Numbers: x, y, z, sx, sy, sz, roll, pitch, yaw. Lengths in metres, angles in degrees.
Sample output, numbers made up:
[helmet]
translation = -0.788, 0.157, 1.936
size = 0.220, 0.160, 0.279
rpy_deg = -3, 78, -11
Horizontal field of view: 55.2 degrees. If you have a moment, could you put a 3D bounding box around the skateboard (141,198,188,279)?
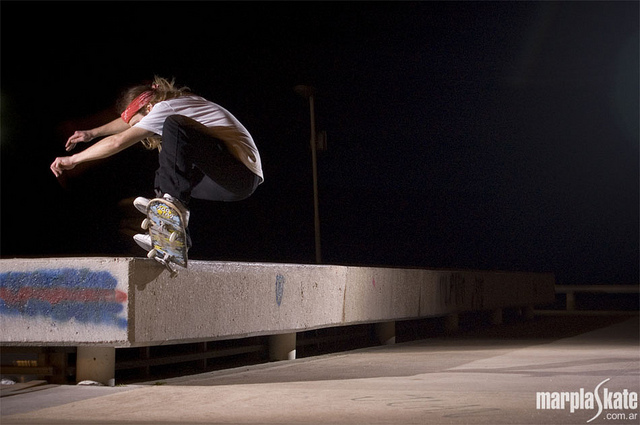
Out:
[skateboard]
translation = -1.239, 0.224, 5.020
size = 0.285, 0.778, 0.115
rpy_deg = 5, -49, -32

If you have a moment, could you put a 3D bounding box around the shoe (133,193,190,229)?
[shoe]
translation = -1.303, -0.070, 5.170
size = 0.625, 0.198, 0.261
rpy_deg = 20, 10, 20
